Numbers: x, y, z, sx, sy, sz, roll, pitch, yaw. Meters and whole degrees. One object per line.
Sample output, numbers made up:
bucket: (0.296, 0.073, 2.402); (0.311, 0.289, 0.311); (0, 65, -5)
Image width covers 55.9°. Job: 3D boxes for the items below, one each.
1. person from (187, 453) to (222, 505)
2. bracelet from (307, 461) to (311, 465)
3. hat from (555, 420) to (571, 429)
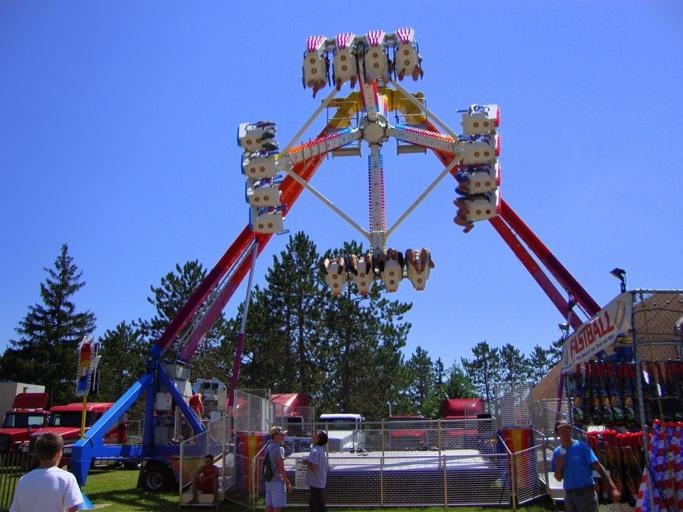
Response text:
person: (-3.731, 6.138, 17.772); (0.721, 1.482, 1.042); (-2, -36, -2)
bracelet: (-0.679, 4.280, 13.368); (0.077, 0.137, 0.032); (-1, -10, 5)
hat: (3.988, 3.004, 11.635); (0.177, 0.186, 0.329); (-1, -16, 6)
